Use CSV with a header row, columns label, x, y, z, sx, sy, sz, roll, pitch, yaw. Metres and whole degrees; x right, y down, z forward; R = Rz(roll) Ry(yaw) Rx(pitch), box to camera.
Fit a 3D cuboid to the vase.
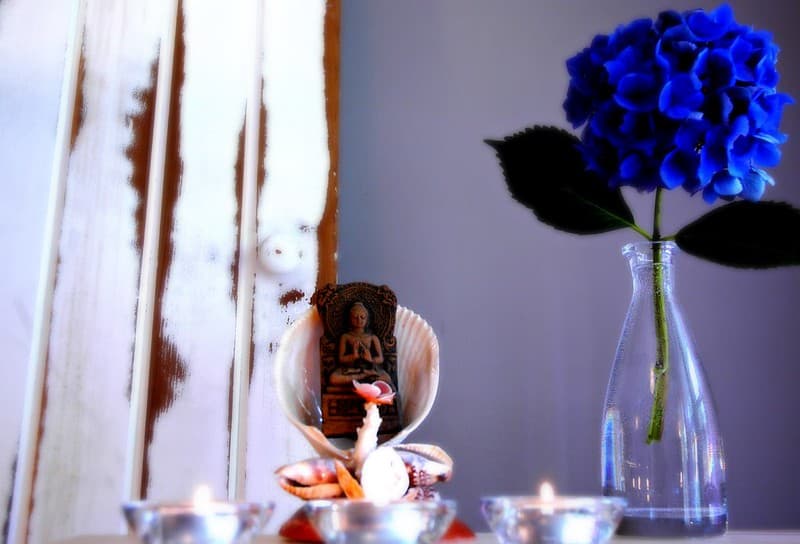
label,x,y,z,sx,sy,sz,roll,pitch,yaw
vase,0.426,0.185,1.386,0.190,0.468,0.097,0,-2,19
